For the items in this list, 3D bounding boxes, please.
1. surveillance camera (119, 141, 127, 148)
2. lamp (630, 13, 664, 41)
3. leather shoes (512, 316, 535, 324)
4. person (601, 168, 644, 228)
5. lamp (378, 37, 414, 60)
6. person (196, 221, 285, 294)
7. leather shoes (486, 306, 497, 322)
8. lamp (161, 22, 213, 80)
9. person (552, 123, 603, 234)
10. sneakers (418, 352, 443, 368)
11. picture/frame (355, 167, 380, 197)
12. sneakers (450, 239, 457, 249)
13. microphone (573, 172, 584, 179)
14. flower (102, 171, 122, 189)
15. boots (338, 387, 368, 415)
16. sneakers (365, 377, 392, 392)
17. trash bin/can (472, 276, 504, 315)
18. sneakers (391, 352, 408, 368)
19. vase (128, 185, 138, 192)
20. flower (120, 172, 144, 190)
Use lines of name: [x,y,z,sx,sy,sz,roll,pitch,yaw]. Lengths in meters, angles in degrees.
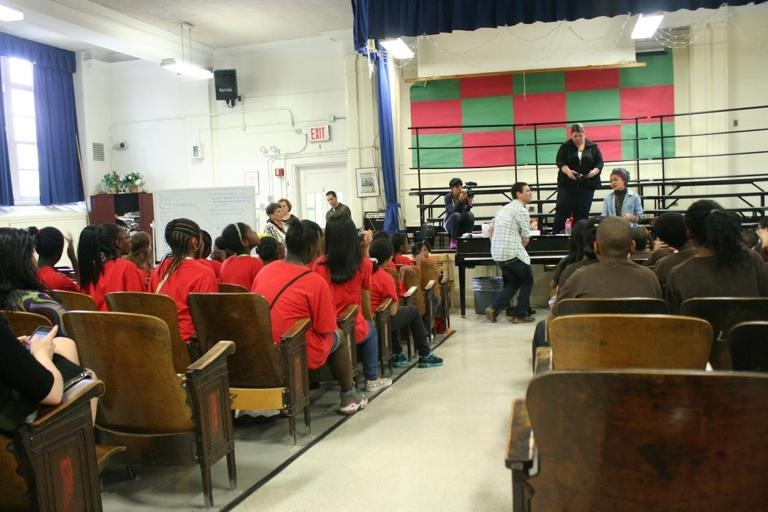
surveillance camera: [-5.416,-2.306,13.851,0.108,0.112,0.025,2,0,-1]
lamp: [3.680,-3.242,9.336,0.347,0.250,1.073,1,11,18]
leather shoes: [1.726,0.793,8.192,0.261,0.106,0.106,-2,1,-15]
person: [2.896,-0.666,8.151,0.530,0.778,0.441,-4,-5,26]
lamp: [0.167,-3.016,9.648,0.443,0.239,0.940,-1,11,8]
person: [-1.253,0.015,6.059,0.479,0.809,0.703,10,29,24]
leather shoes: [1.329,0.722,8.209,0.094,0.214,0.089,-50,32,-15]
lamp: [-3.623,-3.840,12.347,0.246,0.652,0.773,3,4,23]
person: [2.481,-0.877,8.399,0.558,1.476,0.634,0,18,6]
sneakers: [0.451,1.007,6.385,0.245,0.147,0.107,1,-2,-9]
picture/frame: [-0.266,-1.328,11.912,0.531,0.669,0.027,0,4,13]
sneakers: [1.021,-0.169,9.701,0.114,0.152,0.356,-2,-9,4]
microphone: [2.403,-0.989,8.223,0.086,0.025,0.093,25,16,31]
flower: [-5.512,-1.494,13.546,0.396,0.303,0.407,5,10,10]
boots: [-0.242,1.149,5.286,0.118,0.159,0.320,-2,0,25]
sneakers: [-0.040,1.101,5.713,0.231,0.097,0.087,-5,6,-41]
trash bin/can: [1.344,0.514,8.724,0.442,0.507,0.446,2,2,42]
sneakers: [0.157,1.002,6.358,0.074,0.098,0.213,1,2,24]
vase: [-5.031,-1.341,13.428,0.128,0.091,0.125,1,-5,-37]
flower: [-5.077,-1.490,13.549,0.413,0.293,0.402,-4,4,-43]
